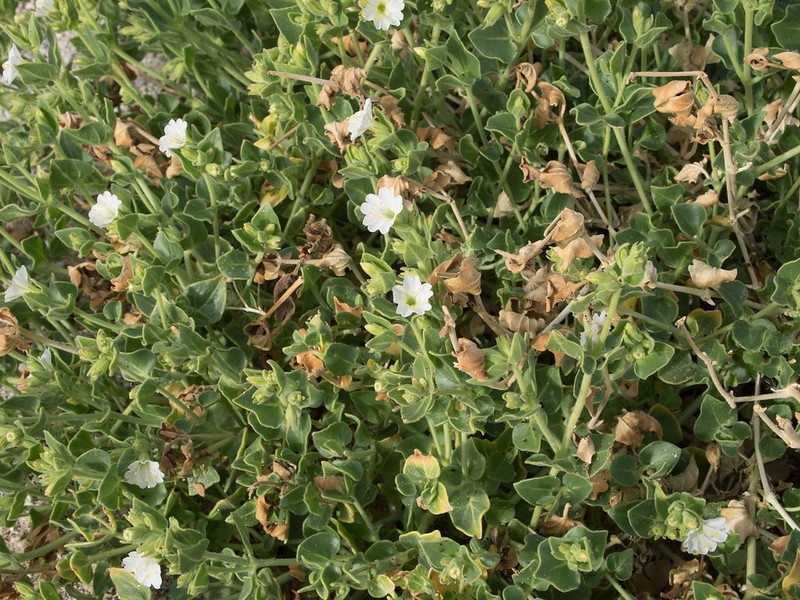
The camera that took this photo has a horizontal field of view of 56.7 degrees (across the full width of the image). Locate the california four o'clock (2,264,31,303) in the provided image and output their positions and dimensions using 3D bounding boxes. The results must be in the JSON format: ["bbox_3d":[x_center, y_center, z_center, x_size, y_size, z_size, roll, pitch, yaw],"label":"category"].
[{"bbox_3d":[-1.122,-0.062,2.177,0.045,0.101,0.107,23,40,1],"label":"california four o'clock"}]

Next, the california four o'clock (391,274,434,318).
[{"bbox_3d":[0.023,-0.016,1.801,0.102,0.098,0.057,1,95,-15],"label":"california four o'clock"}]

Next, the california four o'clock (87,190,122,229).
[{"bbox_3d":[-0.905,-0.290,2.314,0.102,0.055,0.118,-25,75,20],"label":"california four o'clock"}]

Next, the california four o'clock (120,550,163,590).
[{"bbox_3d":[-0.693,0.731,2.004,0.110,0.130,0.079,4,64,23],"label":"california four o'clock"}]

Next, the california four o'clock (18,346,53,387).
[{"bbox_3d":[-1.128,0.206,2.302,0.057,0.110,0.129,18,106,31],"label":"california four o'clock"}]

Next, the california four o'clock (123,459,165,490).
[{"bbox_3d":[-0.733,0.495,2.116,0.098,0.078,0.069,-8,61,17],"label":"california four o'clock"}]

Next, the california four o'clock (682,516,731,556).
[{"bbox_3d":[0.793,0.615,1.918,0.098,0.053,0.105,-45,51,-9],"label":"california four o'clock"}]

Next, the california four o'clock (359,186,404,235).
[{"bbox_3d":[-0.041,-0.229,1.872,0.114,0.061,0.115,8,67,25],"label":"california four o'clock"}]
